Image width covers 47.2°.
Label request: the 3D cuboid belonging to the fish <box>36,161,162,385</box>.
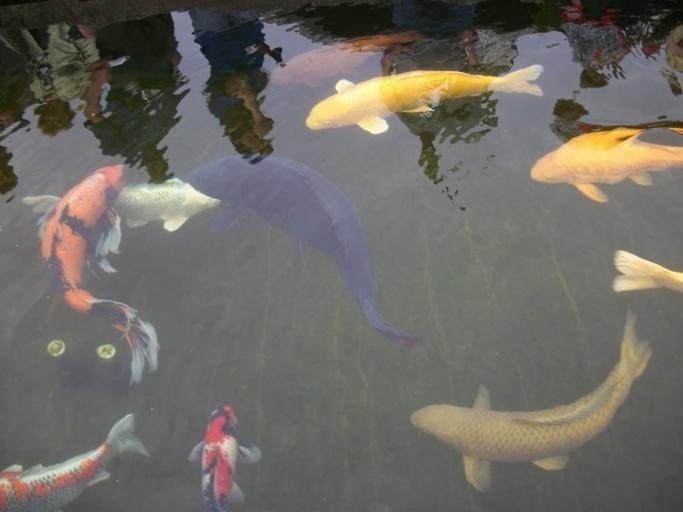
[{"bbox_3d":[-2.090,0.073,7.327,0.796,1.068,2.237,-6,71,3],"label":"fish"}]
